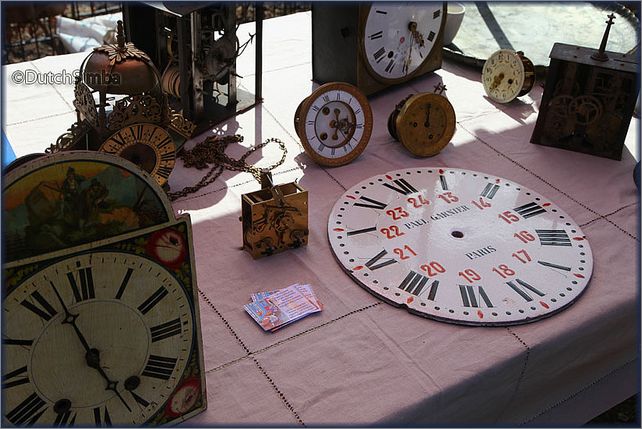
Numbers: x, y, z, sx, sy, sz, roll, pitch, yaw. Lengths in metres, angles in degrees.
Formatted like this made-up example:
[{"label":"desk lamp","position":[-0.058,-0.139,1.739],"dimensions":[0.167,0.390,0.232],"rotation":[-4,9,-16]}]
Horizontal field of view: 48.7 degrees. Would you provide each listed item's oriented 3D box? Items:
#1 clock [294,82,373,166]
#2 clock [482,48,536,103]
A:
[{"label":"clock","position":[0.171,-1.135,9.157],"dimensions":[0.837,0.829,0.798],"rotation":[30,6,-35]},{"label":"clock","position":[2.857,-2.127,10.675],"dimensions":[0.448,0.822,0.832],"rotation":[-12,17,-41]}]
